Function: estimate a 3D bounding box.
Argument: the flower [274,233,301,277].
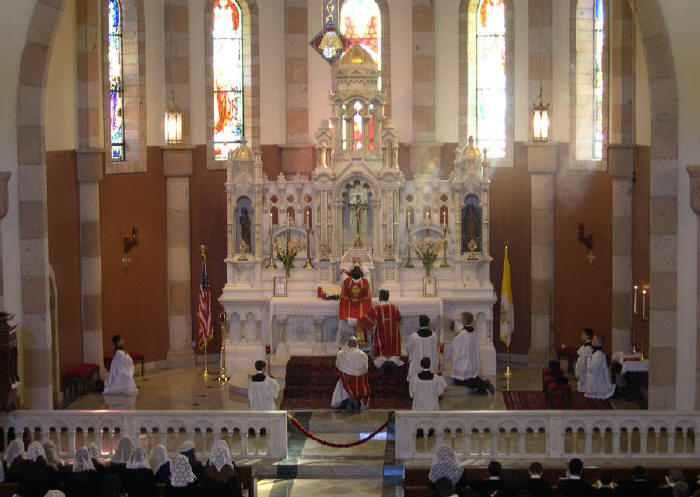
[{"bbox_3d":[-1.614,0.228,34.260,0.583,0.974,0.629,-5,-13,6],"label":"flower"}]

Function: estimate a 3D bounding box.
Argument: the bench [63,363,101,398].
[{"bbox_3d":[-6.596,3.269,33.110,0.516,0.734,1.406,6,6,2],"label":"bench"}]

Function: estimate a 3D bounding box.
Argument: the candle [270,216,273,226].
[{"bbox_3d":[-1.984,-0.683,34.529,0.073,0.240,0.245,-1,3,7],"label":"candle"}]

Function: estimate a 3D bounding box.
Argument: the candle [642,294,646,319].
[{"bbox_3d":[6.938,1.367,31.946,0.119,0.609,0.298,-1,4,13],"label":"candle"}]

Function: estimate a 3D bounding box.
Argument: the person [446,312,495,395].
[{"bbox_3d":[2.925,2.431,32.464,1.191,1.860,0.874,8,14,23],"label":"person"}]

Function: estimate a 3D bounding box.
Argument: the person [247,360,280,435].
[{"bbox_3d":[-1.854,3.256,29.426,0.657,1.649,0.563,-1,13,13],"label":"person"}]

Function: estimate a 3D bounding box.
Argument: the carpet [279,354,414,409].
[{"bbox_3d":[-0.153,3.173,32.011,2.892,0.964,2.120,-2,3,5],"label":"carpet"}]

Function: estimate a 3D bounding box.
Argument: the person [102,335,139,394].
[{"bbox_3d":[-5.626,2.835,32.877,0.800,1.455,0.671,-2,3,3],"label":"person"}]

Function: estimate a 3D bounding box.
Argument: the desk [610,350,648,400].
[{"bbox_3d":[6.580,3.026,32.092,0.878,0.992,0.941,1,11,13],"label":"desk"}]

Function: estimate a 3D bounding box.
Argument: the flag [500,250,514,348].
[{"bbox_3d":[4.050,1.284,35.327,0.342,2.617,0.716,-1,4,10],"label":"flag"}]

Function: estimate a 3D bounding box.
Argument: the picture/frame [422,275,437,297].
[{"bbox_3d":[1.975,0.964,33.961,0.411,0.791,0.431,-1,-2,10],"label":"picture/frame"}]

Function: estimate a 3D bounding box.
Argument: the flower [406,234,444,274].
[{"bbox_3d":[2.040,0.236,34.196,0.711,0.909,0.769,-1,-16,24],"label":"flower"}]

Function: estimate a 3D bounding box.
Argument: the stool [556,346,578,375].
[{"bbox_3d":[5.534,2.836,34.641,0.594,0.628,0.622,2,14,11],"label":"stool"}]

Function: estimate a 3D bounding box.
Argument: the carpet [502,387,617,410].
[{"bbox_3d":[4.780,3.476,31.830,2.604,0.475,1.864,-1,3,17],"label":"carpet"}]

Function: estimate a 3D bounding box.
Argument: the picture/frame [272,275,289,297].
[{"bbox_3d":[-1.756,0.980,34.111,0.510,0.751,0.072,0,-4,-4],"label":"picture/frame"}]
